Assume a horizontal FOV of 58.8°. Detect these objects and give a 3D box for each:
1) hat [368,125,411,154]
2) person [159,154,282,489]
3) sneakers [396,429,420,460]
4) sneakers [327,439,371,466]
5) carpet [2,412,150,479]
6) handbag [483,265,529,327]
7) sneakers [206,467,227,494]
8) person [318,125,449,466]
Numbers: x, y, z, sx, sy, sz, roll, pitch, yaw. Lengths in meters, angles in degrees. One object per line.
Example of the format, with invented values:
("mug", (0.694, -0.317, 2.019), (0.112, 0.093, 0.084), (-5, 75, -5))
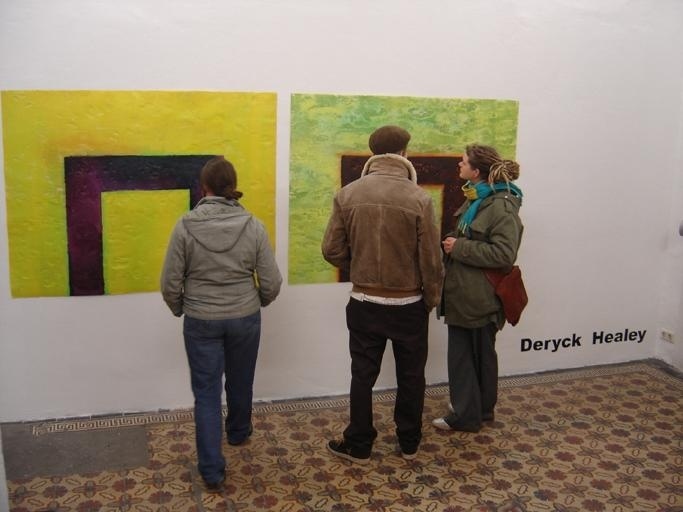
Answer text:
("hat", (0.301, -0.720, 3.841), (0.188, 0.162, 0.205), (1, 22, 4))
("person", (-0.749, 0.378, 3.787), (0.425, 1.942, 0.596), (7, 12, 39))
("sneakers", (0.427, 1.222, 3.917), (0.088, 0.118, 0.269), (0, 9, 2))
("sneakers", (0.039, 1.268, 3.979), (0.308, 0.131, 0.117), (12, 10, 39))
("carpet", (-1.756, 1.235, 3.943), (1.021, 0.128, 0.556), (-2, 10, -8))
("handbag", (1.151, 0.256, 4.136), (0.133, 0.372, 0.369), (-25, 24, 34))
("sneakers", (-0.762, 1.371, 3.684), (0.059, 0.082, 0.179), (2, 9, -3))
("person", (0.249, 0.338, 3.852), (0.725, 1.940, 0.268), (-1, 9, -1))
